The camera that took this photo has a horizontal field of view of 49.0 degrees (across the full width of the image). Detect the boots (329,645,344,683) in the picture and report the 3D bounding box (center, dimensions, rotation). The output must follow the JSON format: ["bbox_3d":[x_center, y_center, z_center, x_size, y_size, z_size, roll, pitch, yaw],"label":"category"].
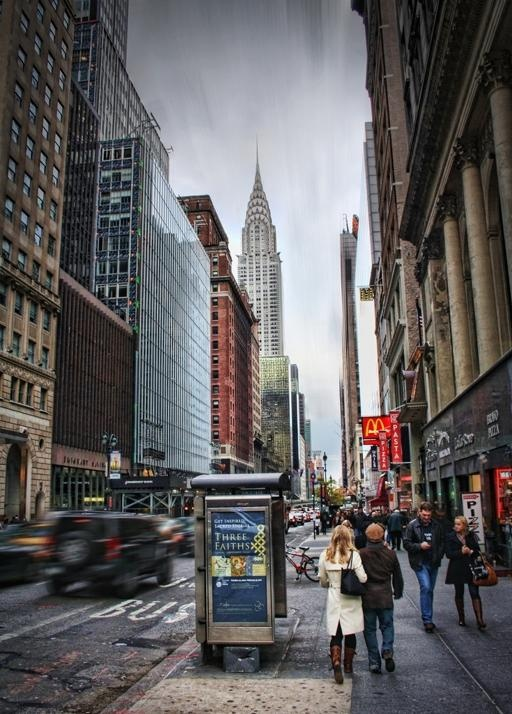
[{"bbox_3d":[0.799,3.007,5.521,0.108,0.405,0.258,-4,-8,1],"label":"boots"}]

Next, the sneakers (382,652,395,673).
[{"bbox_3d":[1.406,3.211,5.936,0.117,0.170,0.231,-2,-14,3],"label":"sneakers"}]

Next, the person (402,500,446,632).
[{"bbox_3d":[2.613,3.209,8.748,0.505,1.838,0.831,-10,-15,34],"label":"person"}]

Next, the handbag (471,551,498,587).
[{"bbox_3d":[3.483,3.278,8.655,0.294,0.473,0.544,-9,-16,28],"label":"handbag"}]

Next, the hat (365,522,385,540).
[{"bbox_3d":[1.397,2.052,6.619,0.154,0.139,0.248,-2,-25,6],"label":"hat"}]

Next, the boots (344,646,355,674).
[{"bbox_3d":[0.988,3.187,5.970,0.105,0.317,0.479,-3,-14,8],"label":"boots"}]

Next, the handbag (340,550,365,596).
[{"bbox_3d":[0.991,2.248,5.844,0.114,0.431,0.298,-20,-33,33],"label":"handbag"}]
